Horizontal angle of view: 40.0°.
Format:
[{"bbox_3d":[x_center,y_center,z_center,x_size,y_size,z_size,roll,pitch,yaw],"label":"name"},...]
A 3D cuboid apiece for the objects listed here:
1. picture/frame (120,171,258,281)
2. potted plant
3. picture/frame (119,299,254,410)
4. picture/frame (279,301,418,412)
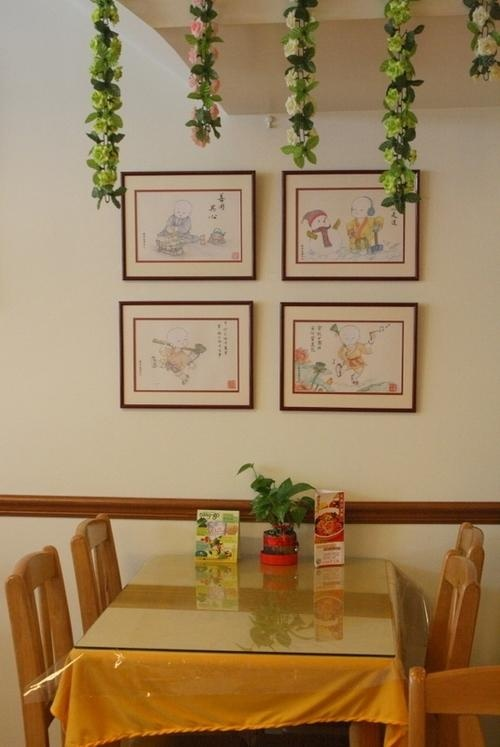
[{"bbox_3d":[-0.212,-0.568,2.571,0.449,0.338,0.020,0,2,1],"label":"picture/frame"},{"bbox_3d":[0.131,0.509,2.539,0.338,0.379,0.306,0,3,16],"label":"potted plant"},{"bbox_3d":[-0.220,-0.082,2.599,0.451,0.337,0.019,0,1,2],"label":"picture/frame"},{"bbox_3d":[0.385,-0.072,2.553,0.443,0.331,0.020,0,1,2],"label":"picture/frame"}]
